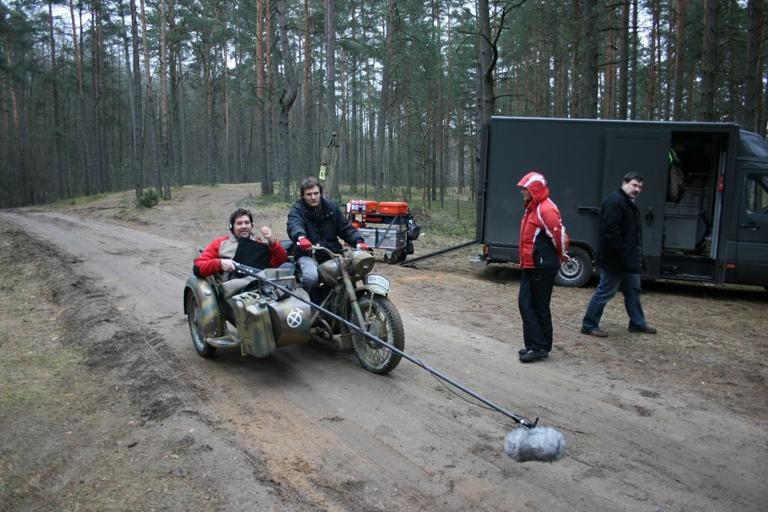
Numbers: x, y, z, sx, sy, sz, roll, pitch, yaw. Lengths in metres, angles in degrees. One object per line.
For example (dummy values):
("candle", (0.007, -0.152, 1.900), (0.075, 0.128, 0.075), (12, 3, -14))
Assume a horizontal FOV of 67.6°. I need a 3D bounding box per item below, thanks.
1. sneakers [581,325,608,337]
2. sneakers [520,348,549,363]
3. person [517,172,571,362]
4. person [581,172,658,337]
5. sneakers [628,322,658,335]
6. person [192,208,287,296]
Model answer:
("sneakers", (3.882, 1.357, 10.574), (0.394, 0.201, 0.199), (-1, 3, 33))
("sneakers", (2.473, 1.631, 9.573), (0.511, 0.237, 0.199), (1, 2, -18))
("person", (2.620, 0.180, 9.571), (0.738, 3.049, 0.796), (1, 10, 14))
("person", (4.244, -0.011, 10.394), (1.244, 2.929, 0.458), (-4, 10, -13))
("sneakers", (4.814, 1.364, 10.662), (0.434, 0.219, 0.219), (0, 10, 6))
("person", (-2.378, -0.146, 9.599), (1.511, 1.331, 0.837), (-3, 0, -33))
